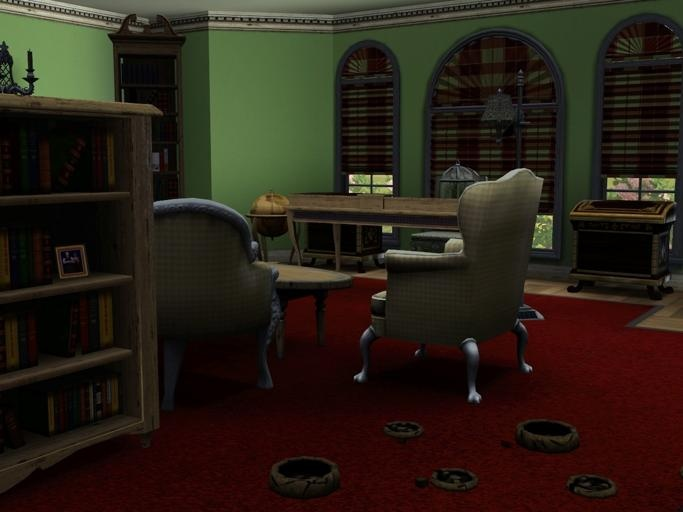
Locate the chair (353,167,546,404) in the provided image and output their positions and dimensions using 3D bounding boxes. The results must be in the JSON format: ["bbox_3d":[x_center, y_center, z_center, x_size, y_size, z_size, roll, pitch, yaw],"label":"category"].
[{"bbox_3d":[0.649,0.137,2.877,1.140,1.244,0.554,-1,6,-2],"label":"chair"}]

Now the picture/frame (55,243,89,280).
[{"bbox_3d":[-1.108,0.022,2.062,0.014,0.133,0.133,-4,3,25],"label":"picture/frame"}]

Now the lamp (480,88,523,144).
[{"bbox_3d":[1.420,-1.322,4.714,0.383,0.398,0.372,-16,15,-37],"label":"lamp"}]
